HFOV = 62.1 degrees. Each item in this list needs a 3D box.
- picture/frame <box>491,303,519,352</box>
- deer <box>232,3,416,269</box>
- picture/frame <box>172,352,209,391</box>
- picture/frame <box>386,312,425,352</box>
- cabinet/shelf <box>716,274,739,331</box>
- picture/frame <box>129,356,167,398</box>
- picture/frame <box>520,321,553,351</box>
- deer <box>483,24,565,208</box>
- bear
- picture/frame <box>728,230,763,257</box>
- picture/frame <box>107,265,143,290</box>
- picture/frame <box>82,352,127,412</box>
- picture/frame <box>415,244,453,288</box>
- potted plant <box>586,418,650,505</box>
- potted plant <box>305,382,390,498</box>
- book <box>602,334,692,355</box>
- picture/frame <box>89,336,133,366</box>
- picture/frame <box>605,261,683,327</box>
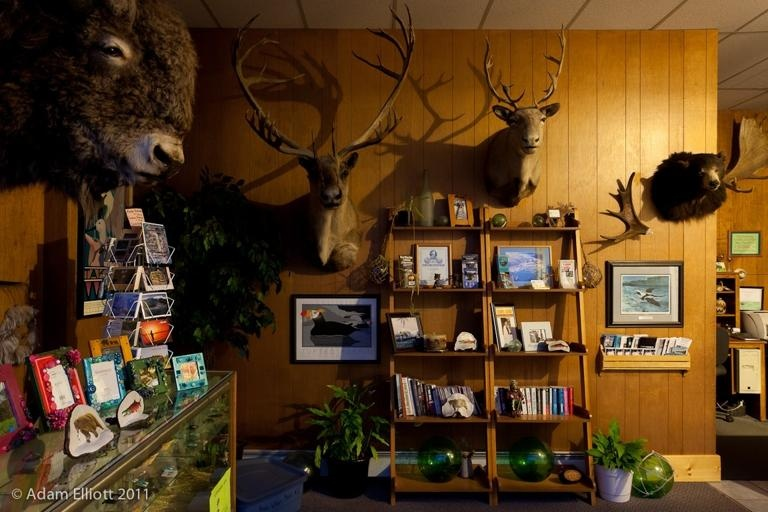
[{"bbox_3d":[1.080,0.662,5.737,0.359,0.566,0.042,2,-15,-19],"label":"picture/frame"},{"bbox_3d":[-0.587,-1.040,5.828,1.900,3.006,1.195,-1,4,-7],"label":"deer"},{"bbox_3d":[-1.348,0.821,4.443,0.216,0.260,0.030,-11,-5,-35],"label":"picture/frame"},{"bbox_3d":[0.210,0.704,5.731,0.322,0.381,0.044,1,-39,-18],"label":"picture/frame"},{"bbox_3d":[4.071,0.530,7.548,0.238,0.644,0.367,1,-1,30],"label":"cabinet/shelf"},{"bbox_3d":[-1.569,0.812,4.223,0.030,0.243,0.229,-11,-13,40],"label":"picture/frame"},{"bbox_3d":[1.373,0.741,5.768,0.217,0.222,0.025,-1,-22,-10],"label":"picture/frame"},{"bbox_3d":[1.258,-1.283,5.741,0.733,1.647,0.634,1,-1,8],"label":"deer"},{"bbox_3d":[2.922,-0.630,5.851,0.593,0.678,0.441,-5,7,-6],"label":"bear"},{"bbox_3d":[4.463,-0.136,7.881,0.271,0.277,0.029,1,-2,5],"label":"picture/frame"},{"bbox_3d":[-1.766,0.160,4.369,0.138,0.120,0.047,0,-11,2],"label":"picture/frame"},{"bbox_3d":[-1.766,0.811,4.032,0.312,0.471,0.043,-1,-12,-44],"label":"picture/frame"},{"bbox_3d":[0.461,0.087,5.924,0.318,0.426,0.040,-1,21,2],"label":"picture/frame"},{"bbox_3d":[1.995,1.835,5.746,0.541,0.645,0.558,1,-7,-3],"label":"potted plant"},{"bbox_3d":[-0.322,1.640,5.682,0.741,0.947,0.506,1,-1,-2],"label":"potted plant"},{"bbox_3d":[2.414,0.836,5.903,0.777,0.177,0.052,2,-1,7],"label":"book"},{"bbox_3d":[-1.774,0.630,4.160,0.026,0.153,0.165,-42,-9,30],"label":"picture/frame"},{"bbox_3d":[2.455,0.374,5.970,0.516,0.522,0.041,0,-3,2],"label":"picture/frame"}]
